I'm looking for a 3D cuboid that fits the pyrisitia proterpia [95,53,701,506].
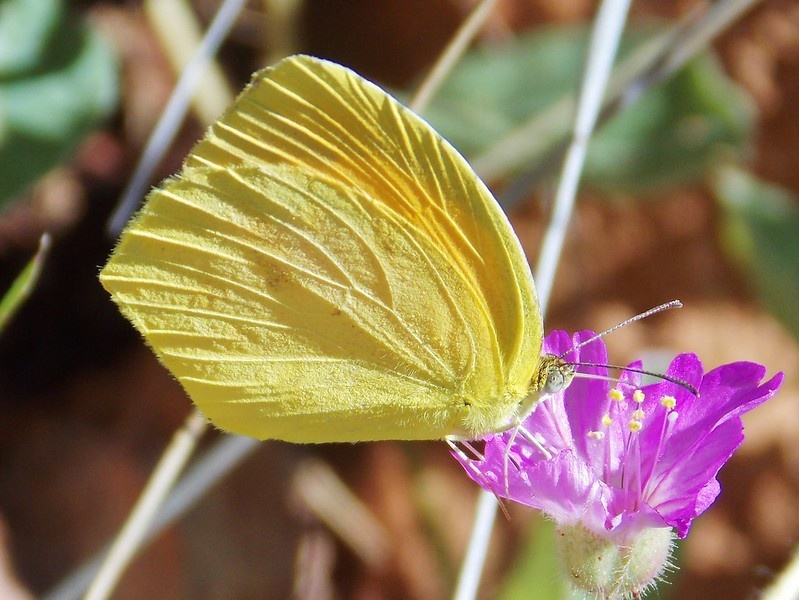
[{"bbox_3d":[0.014,0.026,1.344,0.719,0.769,0.445,9,85,14],"label":"pyrisitia proterpia"}]
